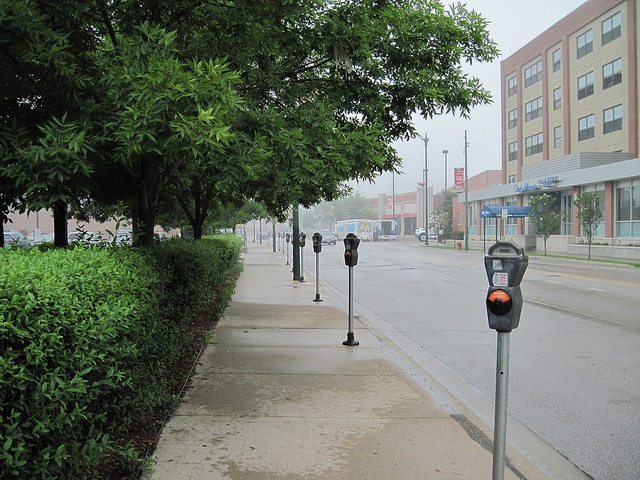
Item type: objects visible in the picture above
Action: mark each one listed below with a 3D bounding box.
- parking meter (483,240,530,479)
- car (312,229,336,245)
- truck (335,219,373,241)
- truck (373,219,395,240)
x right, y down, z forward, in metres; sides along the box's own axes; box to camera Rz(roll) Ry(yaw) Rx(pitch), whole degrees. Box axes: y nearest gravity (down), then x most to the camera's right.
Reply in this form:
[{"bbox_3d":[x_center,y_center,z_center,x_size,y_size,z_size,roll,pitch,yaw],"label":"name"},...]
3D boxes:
[{"bbox_3d":[1.380,0.918,4.546,0.301,1.820,0.427,4,7,25],"label":"parking meter"},{"bbox_3d":[0.749,-0.377,55.985,1.155,1.036,2.726,-1,-8,-4],"label":"car"},{"bbox_3d":[4.500,-1.308,70.035,2.169,2.921,8.463,1,2,-11],"label":"truck"},{"bbox_3d":[7.617,-1.322,68.054,1.763,1.854,2.946,1,1,-4],"label":"truck"}]
